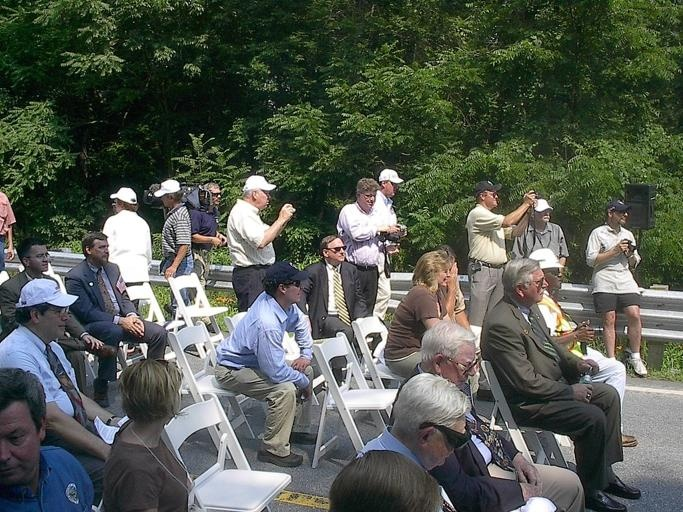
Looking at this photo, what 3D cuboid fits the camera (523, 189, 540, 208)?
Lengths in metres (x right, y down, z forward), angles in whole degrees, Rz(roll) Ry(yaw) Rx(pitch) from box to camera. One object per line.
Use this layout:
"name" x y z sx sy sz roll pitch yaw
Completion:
"camera" 2.664 -0.801 11.535 0.186 0.238 0.439 -2 2 13

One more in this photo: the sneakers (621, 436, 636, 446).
"sneakers" 3.354 2.149 9.585 0.185 0.085 0.113 -11 7 18

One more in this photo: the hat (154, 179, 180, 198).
"hat" -2.856 -1.088 13.495 0.361 0.212 0.261 -20 13 5

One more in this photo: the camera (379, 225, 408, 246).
"camera" 0.769 -0.332 12.196 0.254 0.189 0.375 3 -13 -8

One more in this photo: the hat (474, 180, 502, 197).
"hat" 2.127 -1.000 11.933 0.314 0.168 0.213 -9 7 12

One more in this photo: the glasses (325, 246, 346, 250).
"glasses" -0.049 -0.101 11.342 0.261 0.072 0.102 -4 3 -37

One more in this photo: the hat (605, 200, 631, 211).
"hat" 3.944 -0.728 11.725 0.227 0.097 0.151 4 9 42

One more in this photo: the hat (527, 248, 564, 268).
"hat" 2.447 0.030 9.892 0.365 0.203 0.300 -10 2 43

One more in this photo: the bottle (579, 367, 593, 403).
"bottle" 2.651 1.389 8.873 0.120 0.307 0.494 -2 2 16

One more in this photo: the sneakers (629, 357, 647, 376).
"sneakers" 4.218 1.556 11.645 0.267 0.255 0.224 -2 2 5

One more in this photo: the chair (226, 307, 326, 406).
"chair" -0.764 0.893 9.378 0.990 0.919 0.784 10 14 11

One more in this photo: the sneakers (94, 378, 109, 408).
"sneakers" -3.000 1.707 10.482 0.141 0.301 0.397 1 0 -20

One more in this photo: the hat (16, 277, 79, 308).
"hat" -2.859 0.367 8.056 0.442 0.192 0.298 2 5 -11

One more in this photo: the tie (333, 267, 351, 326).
"tie" -0.001 0.529 11.322 0.211 0.763 0.151 -1 3 37

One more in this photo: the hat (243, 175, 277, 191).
"hat" -1.162 -1.026 11.890 0.391 0.219 0.273 -4 12 -16

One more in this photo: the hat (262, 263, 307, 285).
"hat" -0.630 0.189 9.211 0.327 0.188 0.242 -2 9 -7

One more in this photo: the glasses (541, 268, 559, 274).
"glasses" 2.516 0.173 9.844 0.180 0.047 0.108 1 1 8

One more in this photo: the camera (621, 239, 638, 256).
"camera" 4.025 -0.151 11.490 0.184 0.266 0.142 10 13 42

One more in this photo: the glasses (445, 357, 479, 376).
"glasses" 1.193 1.061 7.851 0.207 0.065 0.207 21 5 43

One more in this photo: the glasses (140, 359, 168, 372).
"glasses" -1.599 0.941 7.080 0.251 0.107 0.104 -3 2 -14

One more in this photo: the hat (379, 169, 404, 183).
"hat" 0.716 -1.228 12.673 0.321 0.146 0.229 12 16 37

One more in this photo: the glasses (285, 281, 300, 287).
"glasses" -0.525 0.318 9.183 0.093 0.031 0.078 -11 7 21
